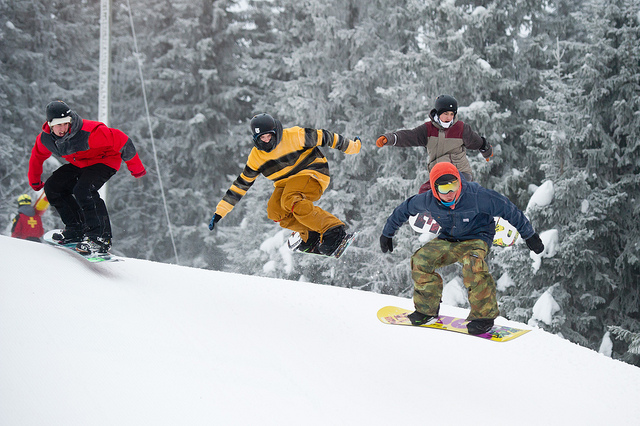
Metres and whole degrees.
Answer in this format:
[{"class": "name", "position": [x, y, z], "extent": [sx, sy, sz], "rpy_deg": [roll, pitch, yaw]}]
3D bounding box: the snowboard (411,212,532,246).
[{"class": "snowboard", "position": [2.460, 0.237, 12.245], "extent": [1.950, 0.609, 0.297], "rpy_deg": [11, 20, 19]}]

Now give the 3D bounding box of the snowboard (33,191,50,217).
[{"class": "snowboard", "position": [-6.359, -0.246, 17.371], "extent": [0.184, 0.180, 0.733], "rpy_deg": [20, -39, -13]}]

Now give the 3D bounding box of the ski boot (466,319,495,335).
[{"class": "ski boot", "position": [2.463, 1.728, 11.708], "extent": [0.381, 0.256, 0.117], "rpy_deg": [9, 2, 4]}]

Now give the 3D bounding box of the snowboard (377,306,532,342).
[{"class": "snowboard", "position": [1.991, 1.730, 11.885], "extent": [1.660, 0.286, 0.536], "rpy_deg": [9, 15, 26]}]
